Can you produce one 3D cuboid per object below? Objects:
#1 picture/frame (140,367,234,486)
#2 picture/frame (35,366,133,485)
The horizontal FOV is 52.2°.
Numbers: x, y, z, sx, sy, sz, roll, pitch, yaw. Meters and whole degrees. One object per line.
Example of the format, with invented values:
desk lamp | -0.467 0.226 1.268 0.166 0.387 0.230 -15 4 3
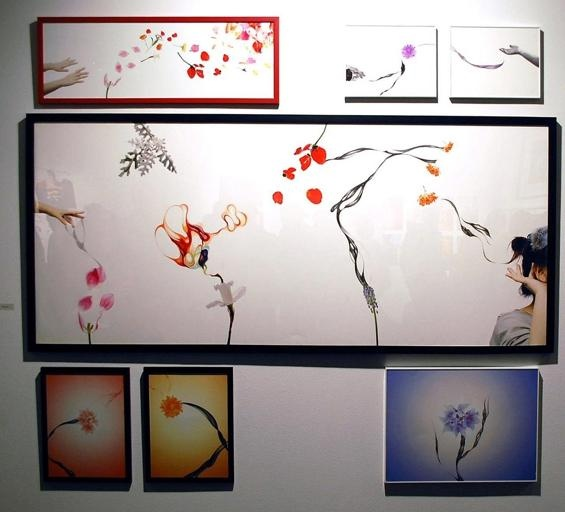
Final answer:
picture/frame | -0.322 0.594 2.028 0.306 0.017 0.489 1 -68 -7
picture/frame | -0.681 0.597 2.031 0.286 0.016 0.462 2 -72 -14
